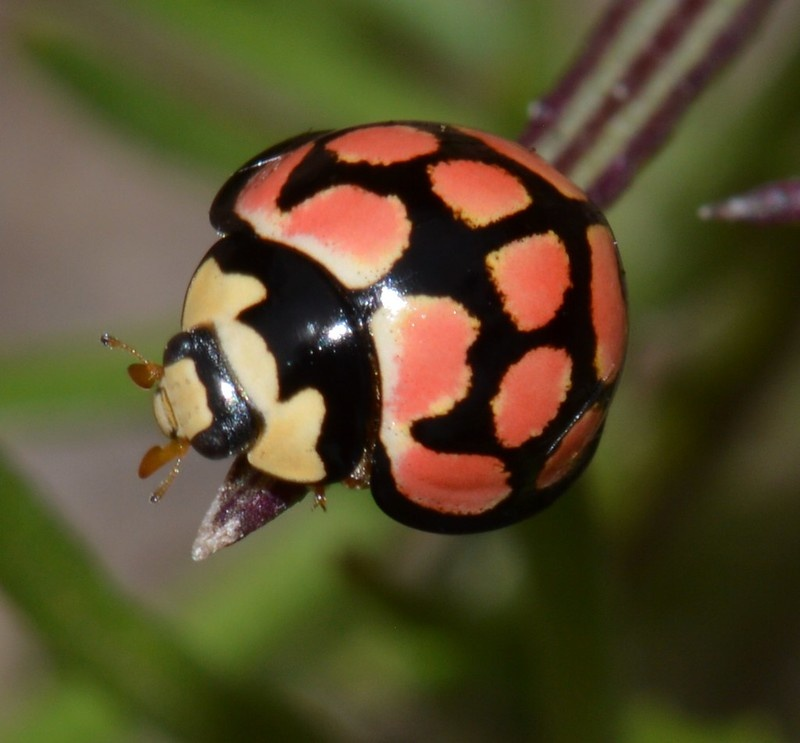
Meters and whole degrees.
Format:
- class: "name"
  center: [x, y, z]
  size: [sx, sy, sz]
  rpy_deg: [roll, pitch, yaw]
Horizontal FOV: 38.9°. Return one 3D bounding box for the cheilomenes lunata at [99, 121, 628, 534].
- class: "cheilomenes lunata"
  center: [0.005, -0.030, 0.699]
  size: [0.270, 0.210, 0.215]
  rpy_deg: [14, 52, -11]
